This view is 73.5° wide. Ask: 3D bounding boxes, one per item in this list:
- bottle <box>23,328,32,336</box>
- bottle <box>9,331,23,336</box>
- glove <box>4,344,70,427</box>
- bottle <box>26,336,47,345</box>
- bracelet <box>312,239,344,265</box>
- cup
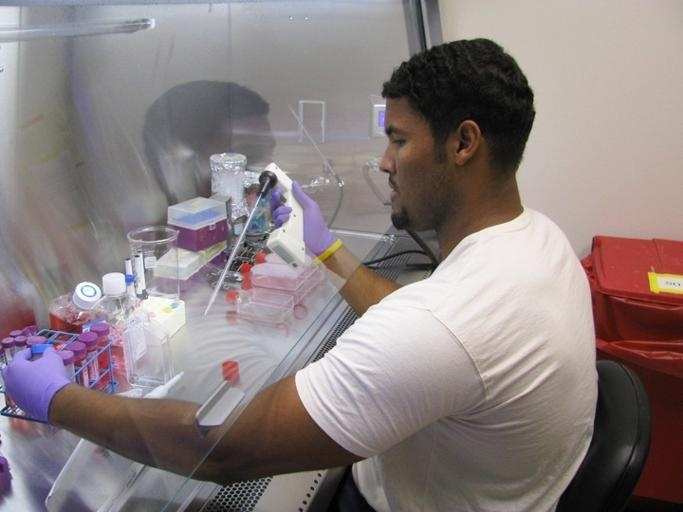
[{"bbox_3d":[-0.747,0.183,1.084,0.015,0.019,0.019,4,-13,8],"label":"bottle"},{"bbox_3d":[-0.749,0.182,1.050,0.019,0.009,0.021,0,13,-7],"label":"bottle"},{"bbox_3d":[-0.599,0.264,0.905,0.165,0.119,0.091,15,23,39],"label":"glove"},{"bbox_3d":[-0.682,0.189,1.011,0.026,0.019,0.029,2,15,-10],"label":"bottle"},{"bbox_3d":[-0.039,-0.005,1.391,0.016,0.072,0.066,40,37,-1],"label":"bracelet"},{"bbox_3d":[-0.516,0.028,1.254,0.122,0.242,0.147,-3,20,-6],"label":"cup"}]
